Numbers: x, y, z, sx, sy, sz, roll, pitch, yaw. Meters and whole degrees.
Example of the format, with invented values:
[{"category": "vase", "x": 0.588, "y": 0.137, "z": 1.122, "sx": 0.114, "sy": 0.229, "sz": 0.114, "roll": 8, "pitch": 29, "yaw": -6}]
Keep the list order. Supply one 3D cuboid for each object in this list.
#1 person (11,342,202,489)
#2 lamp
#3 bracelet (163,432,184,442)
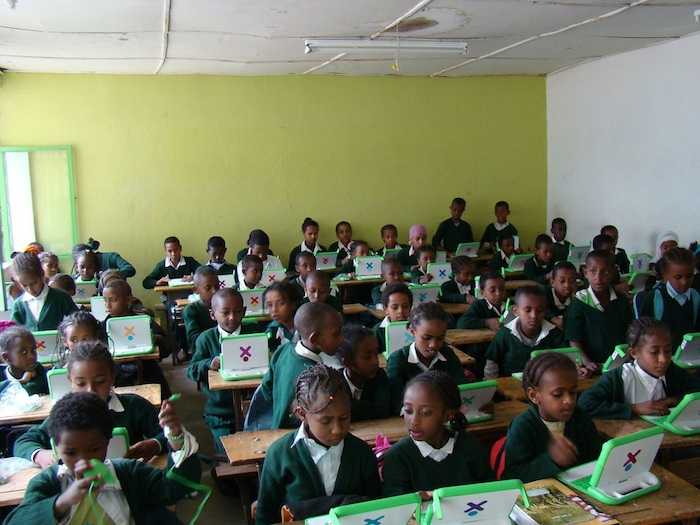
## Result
[{"category": "person", "x": -1.065, "y": 0.625, "z": 2.436, "sx": 0.861, "sy": 0.600, "sz": 0.527, "roll": -4, "pitch": 6, "yaw": -38}, {"category": "lamp", "x": 0.368, "y": -2.180, "z": 5.519, "sx": 1.643, "sy": 0.132, "sz": 0.332, "roll": -5, "pitch": 7, "yaw": -11}, {"category": "bracelet", "x": -0.621, "y": 0.617, "z": 1.947, "sx": 0.034, "sy": 0.022, "sz": 0.041, "roll": -1, "pitch": 0, "yaw": -29}]
